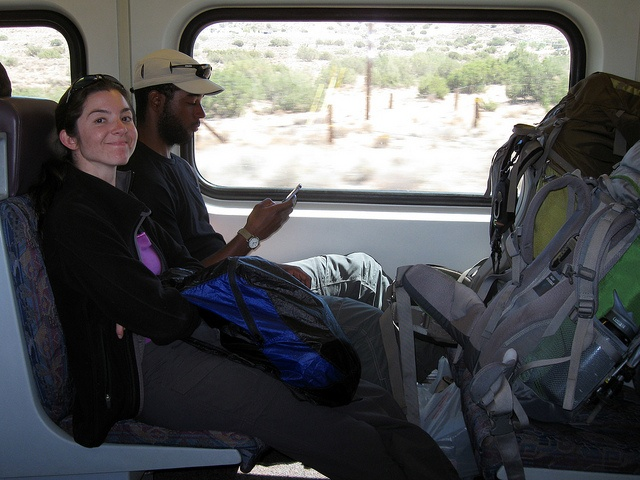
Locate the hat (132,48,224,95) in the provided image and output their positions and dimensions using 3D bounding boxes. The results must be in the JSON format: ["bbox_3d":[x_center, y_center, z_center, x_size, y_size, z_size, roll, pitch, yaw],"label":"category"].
[{"bbox_3d":[-0.687,-0.801,2.410,0.368,0.164,0.221,1,17,-6],"label":"hat"}]

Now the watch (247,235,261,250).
[{"bbox_3d":[-0.338,0.015,2.536,0.069,0.072,0.050,25,33,31],"label":"watch"}]

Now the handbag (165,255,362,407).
[{"bbox_3d":[-0.130,0.341,1.668,0.648,0.242,0.420,30,3,-26],"label":"handbag"}]

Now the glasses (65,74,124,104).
[{"bbox_3d":[-0.803,-0.551,1.753,0.143,0.042,0.140,1,27,42],"label":"glasses"}]
